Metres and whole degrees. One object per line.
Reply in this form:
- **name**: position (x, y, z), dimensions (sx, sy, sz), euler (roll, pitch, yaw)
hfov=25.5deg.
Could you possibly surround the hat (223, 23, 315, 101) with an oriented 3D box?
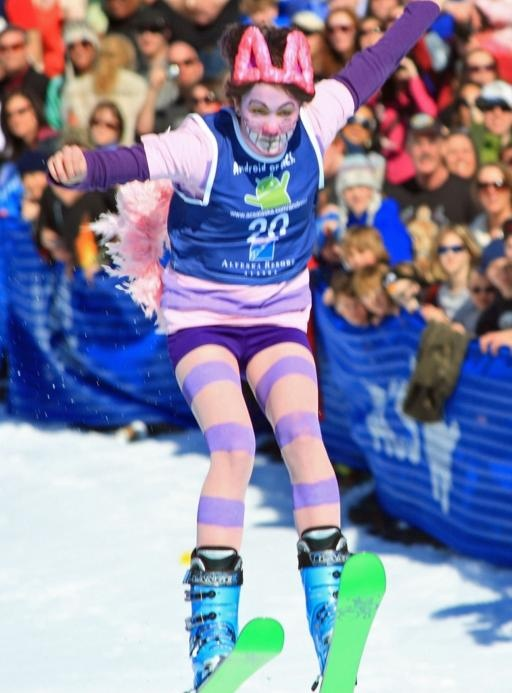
- **hat**: position (0.043, -0.697, 2.843), dimensions (0.208, 0.161, 0.174), euler (0, 47, 0)

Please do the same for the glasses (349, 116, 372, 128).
- **glasses**: position (0.514, -1.082, 5.472), dimensions (0.069, 0.036, 0.096), euler (5, 32, -16)

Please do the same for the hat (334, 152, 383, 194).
- **hat**: position (0.484, -0.780, 5.104), dimensions (0.209, 0.175, 0.163), euler (-3, 11, -23)

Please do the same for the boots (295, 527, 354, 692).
- **boots**: position (0.158, 0.657, 2.798), dimensions (0.115, 0.165, 0.410), euler (1, 88, -10)
